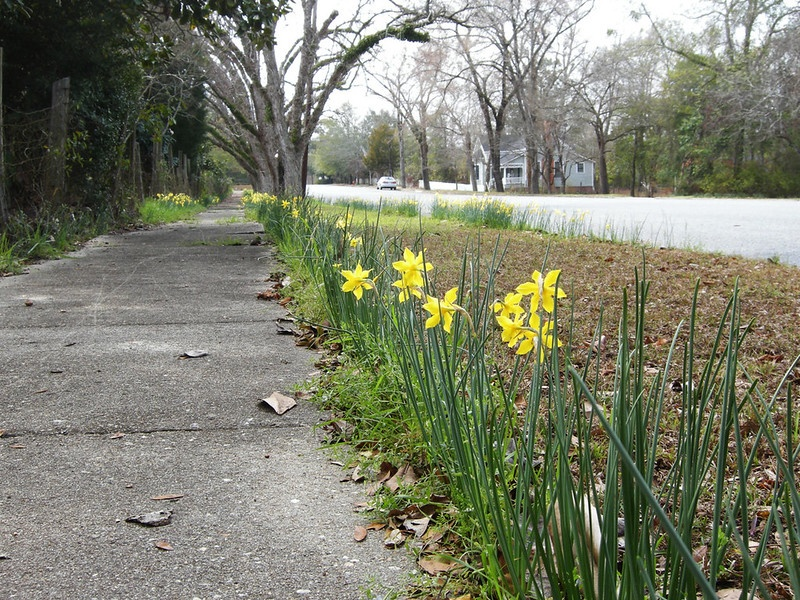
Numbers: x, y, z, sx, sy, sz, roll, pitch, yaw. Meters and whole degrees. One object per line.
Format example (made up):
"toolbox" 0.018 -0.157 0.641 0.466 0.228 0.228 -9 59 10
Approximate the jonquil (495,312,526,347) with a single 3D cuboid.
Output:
"jonquil" 0.341 0.093 2.134 0.094 0.099 0.039 -26 13 28

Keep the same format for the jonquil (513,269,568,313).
"jonquil" 0.418 -0.025 2.038 0.136 0.074 0.136 21 -28 -21

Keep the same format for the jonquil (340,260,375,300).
"jonquil" -0.185 -0.068 2.838 0.170 0.174 0.071 -15 5 10

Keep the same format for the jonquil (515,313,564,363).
"jonquil" 0.416 0.115 2.080 0.148 0.148 0.130 18 32 3
